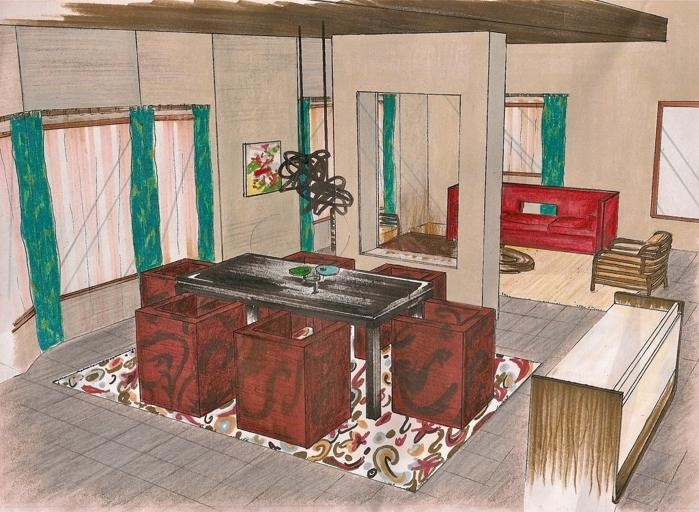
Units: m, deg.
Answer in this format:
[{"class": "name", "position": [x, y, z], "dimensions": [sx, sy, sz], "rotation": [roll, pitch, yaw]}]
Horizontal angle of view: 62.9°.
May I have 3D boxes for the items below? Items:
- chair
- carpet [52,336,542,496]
[{"class": "chair", "position": [4.275, 0.066, 8.616], "dimensions": [1.172, 0.958, 0.979], "rotation": [7, 16, 31]}, {"class": "carpet", "position": [-0.565, 1.321, 6.165], "dimensions": [4.740, 0.254, 2.471], "rotation": [4, 17, 21]}]
